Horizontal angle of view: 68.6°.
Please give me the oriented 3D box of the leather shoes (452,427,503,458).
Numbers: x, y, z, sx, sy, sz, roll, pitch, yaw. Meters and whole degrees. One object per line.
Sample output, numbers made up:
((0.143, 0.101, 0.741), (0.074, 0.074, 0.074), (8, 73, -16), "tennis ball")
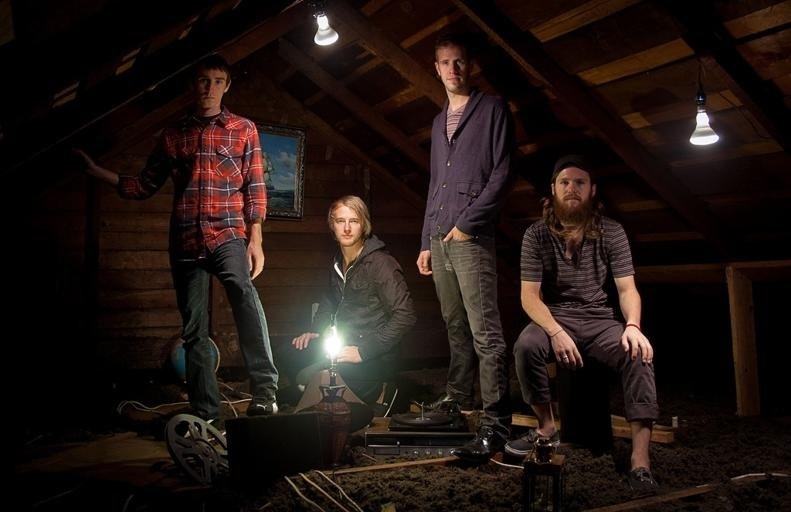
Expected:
((0.531, 1.160, 3.595), (0.140, 0.120, 0.365), (-1, -5, 41), "leather shoes")

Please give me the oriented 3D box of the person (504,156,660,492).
((1.223, 0.308, 3.694), (0.866, 1.938, 0.879), (2, 6, 21), "person")

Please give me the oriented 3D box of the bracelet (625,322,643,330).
((1.471, 0.431, 3.582), (0.082, 0.049, 0.126), (2, 5, 19), "bracelet")

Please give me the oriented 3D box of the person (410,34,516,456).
((0.506, -0.088, 3.822), (0.559, 2.670, 0.844), (0, 5, 0), "person")

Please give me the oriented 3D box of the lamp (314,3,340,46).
((-0.582, -1.970, 5.002), (0.195, 0.320, 0.641), (-1, 5, -6), "lamp")

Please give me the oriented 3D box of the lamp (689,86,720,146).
((2.152, -0.963, 4.006), (0.175, 0.383, 0.381), (3, 6, 28), "lamp")

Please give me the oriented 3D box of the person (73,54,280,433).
((-1.289, 0.013, 3.867), (0.982, 2.061, 0.619), (-1, 5, -7), "person")
